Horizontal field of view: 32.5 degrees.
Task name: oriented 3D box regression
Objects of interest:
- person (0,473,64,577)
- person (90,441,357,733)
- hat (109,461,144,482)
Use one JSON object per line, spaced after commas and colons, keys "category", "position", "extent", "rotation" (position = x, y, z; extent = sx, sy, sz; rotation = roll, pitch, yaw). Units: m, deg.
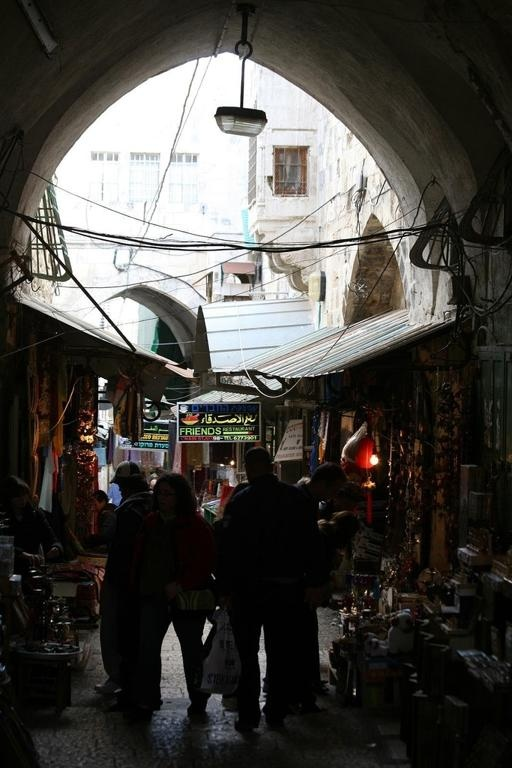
{"category": "person", "position": [-1.624, 1.051, 6.298], "extent": [0.435, 0.742, 0.977], "rotation": [0, 15, -13]}
{"category": "person", "position": [-0.090, 1.150, 4.844], "extent": [1.130, 1.594, 0.822], "rotation": [4, 14, -1]}
{"category": "hat", "position": [-0.881, 0.591, 5.995], "extent": [0.198, 0.139, 0.150], "rotation": [2, -6, 10]}
